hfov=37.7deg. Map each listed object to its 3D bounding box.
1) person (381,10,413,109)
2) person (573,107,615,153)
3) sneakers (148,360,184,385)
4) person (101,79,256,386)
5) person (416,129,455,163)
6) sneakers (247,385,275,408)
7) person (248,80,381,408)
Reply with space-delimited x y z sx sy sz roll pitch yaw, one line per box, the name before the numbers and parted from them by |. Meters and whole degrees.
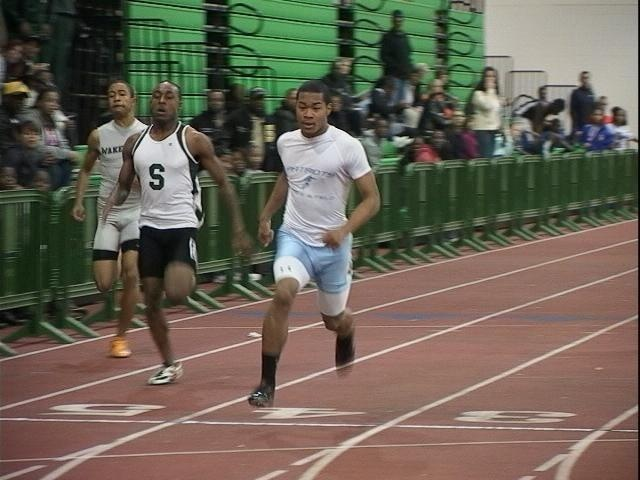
person | 1.340 -3.221 16.429 0.568 1.566 1.596 3 11 3
person | 5.680 -2.229 19.415 0.724 0.312 0.888 -4 -13 8
sneakers | -1.207 1.065 7.383 0.328 0.131 0.121 -1 0 -42
person | -1.161 -0.027 7.279 1.041 2.349 0.607 3 11 7
person | 1.857 -1.535 15.472 1.075 0.336 0.482 5 17 -45
sneakers | -0.403 1.071 6.346 0.137 0.161 0.184 3 11 8
person | -0.063 0.002 6.704 0.691 2.239 1.275 13 15 43
